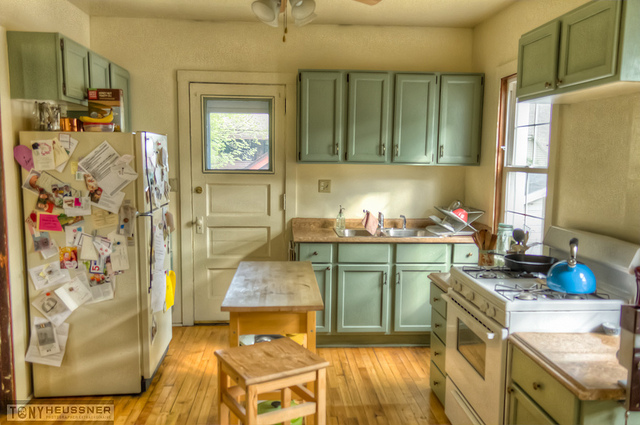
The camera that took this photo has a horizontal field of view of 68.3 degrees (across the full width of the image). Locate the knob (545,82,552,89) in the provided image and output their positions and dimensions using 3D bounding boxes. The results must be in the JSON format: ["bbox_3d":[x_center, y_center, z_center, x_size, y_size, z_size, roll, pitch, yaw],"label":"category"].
[{"bbox_3d":[1.547,-0.870,3.199,0.052,0.016,0.072,1,4,15],"label":"knob"}]

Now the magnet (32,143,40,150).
[{"bbox_3d":[-2.234,-0.525,3.699,0.068,0.063,0.033,1,16,1],"label":"magnet"}]

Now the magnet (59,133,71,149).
[{"bbox_3d":[-2.001,-0.571,3.701,0.112,0.102,0.026,0,5,-6],"label":"magnet"}]

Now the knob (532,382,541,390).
[{"bbox_3d":[1.251,1.011,2.731,0.037,0.039,0.035,-20,-8,-6],"label":"knob"}]

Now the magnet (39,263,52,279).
[{"bbox_3d":[-2.199,0.478,3.786,0.075,0.095,0.032,41,-12,-6],"label":"magnet"}]

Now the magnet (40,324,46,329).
[{"bbox_3d":[-2.232,0.915,3.792,0.035,0.021,0.008,4,-2,-6],"label":"magnet"}]

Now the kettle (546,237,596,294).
[{"bbox_3d":[1.679,0.344,3.143,0.301,0.303,0.376,4,6,27],"label":"kettle"}]

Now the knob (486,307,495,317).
[{"bbox_3d":[1.095,0.643,3.040,0.018,0.064,0.076,-1,8,-9],"label":"knob"}]

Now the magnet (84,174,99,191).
[{"bbox_3d":[-1.820,-0.239,3.742,0.094,0.116,0.040,-30,5,-5],"label":"magnet"}]

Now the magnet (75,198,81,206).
[{"bbox_3d":[-1.928,-0.086,3.744,0.043,0.043,0.011,5,4,-13],"label":"magnet"}]

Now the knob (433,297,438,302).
[{"bbox_3d":[0.944,0.713,3.858,0.025,0.023,0.040,3,-28,-30],"label":"knob"}]

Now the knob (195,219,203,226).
[{"bbox_3d":[-1.302,0.108,5.078,0.067,0.067,0.023,0,9,-3],"label":"knob"}]

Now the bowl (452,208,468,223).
[{"bbox_3d":[1.421,0.029,4.779,0.140,0.126,0.150,1,8,0],"label":"bowl"}]

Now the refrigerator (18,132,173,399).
[{"bbox_3d":[-1.804,0.441,3.890,1.110,2.169,0.460,-2,10,-20],"label":"refrigerator"}]

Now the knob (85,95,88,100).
[{"bbox_3d":[-1.996,-0.995,4.024,0.016,0.035,0.084,-4,9,-30],"label":"knob"}]

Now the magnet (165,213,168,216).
[{"bbox_3d":[-1.390,0.016,4.264,0.015,0.027,0.015,1,16,-2],"label":"magnet"}]

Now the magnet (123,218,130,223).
[{"bbox_3d":[-1.563,0.062,3.791,0.039,0.035,0.009,8,-5,-8],"label":"magnet"}]

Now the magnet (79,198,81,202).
[{"bbox_3d":[-1.908,-0.101,3.745,0.017,0.032,0.018,2,14,4],"label":"magnet"}]

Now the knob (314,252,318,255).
[{"bbox_3d":[-0.046,0.397,4.603,0.024,0.032,0.033,-4,-1,-29],"label":"knob"}]

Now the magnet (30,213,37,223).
[{"bbox_3d":[-2.277,0.035,3.745,0.051,0.049,0.012,7,-5,-13],"label":"magnet"}]

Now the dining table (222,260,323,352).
[{"bbox_3d":[-0.363,0.812,3.773,0.656,0.585,1.218,0,10,-4],"label":"dining table"}]
